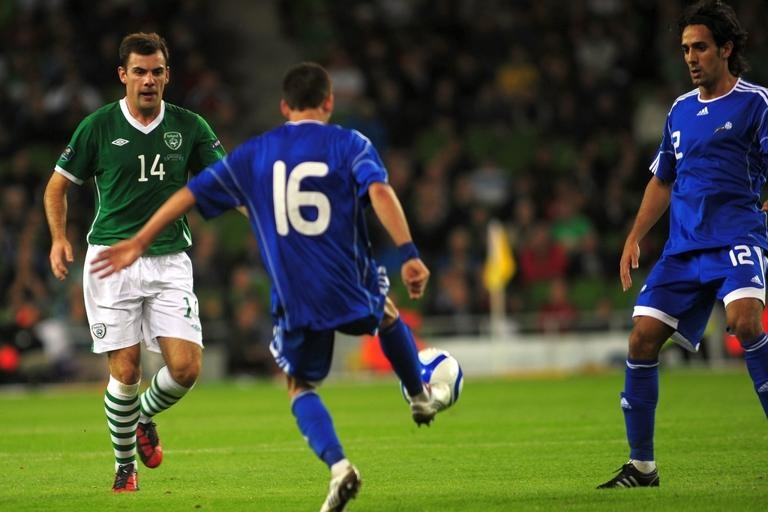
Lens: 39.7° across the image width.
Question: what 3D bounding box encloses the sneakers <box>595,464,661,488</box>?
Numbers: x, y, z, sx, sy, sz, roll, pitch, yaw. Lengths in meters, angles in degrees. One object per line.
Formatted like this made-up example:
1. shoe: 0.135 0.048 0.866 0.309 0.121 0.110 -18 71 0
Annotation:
1. sneakers: 2.182 1.935 9.398 0.614 0.260 0.208 1 -12 -2

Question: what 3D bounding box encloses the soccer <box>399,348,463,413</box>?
1. soccer: 0.477 1.132 9.717 0.438 0.454 0.598 6 42 31

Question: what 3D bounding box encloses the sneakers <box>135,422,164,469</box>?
1. sneakers: -2.290 1.841 10.307 0.184 0.509 0.230 -12 -22 -36
